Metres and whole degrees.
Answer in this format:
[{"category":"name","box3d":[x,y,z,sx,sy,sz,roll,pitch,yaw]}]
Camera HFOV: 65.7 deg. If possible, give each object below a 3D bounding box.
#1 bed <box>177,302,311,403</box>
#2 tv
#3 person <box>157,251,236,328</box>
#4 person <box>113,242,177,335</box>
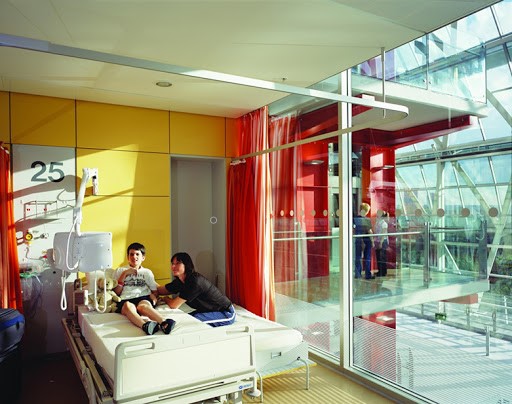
[{"category":"bed","box3d":[0.084,1.560,4.435,0.627,0.643,1.091,0,-5,-29]},{"category":"tv","box3d":[-1.468,0.386,3.369,0.474,0.332,0.345,4,5,4]},{"category":"person","box3d":[-0.662,1.043,4.545,0.895,0.855,0.687,1,5,-12]},{"category":"person","box3d":[-1.249,0.947,4.458,0.571,0.858,1.246,2,3,-31]}]
